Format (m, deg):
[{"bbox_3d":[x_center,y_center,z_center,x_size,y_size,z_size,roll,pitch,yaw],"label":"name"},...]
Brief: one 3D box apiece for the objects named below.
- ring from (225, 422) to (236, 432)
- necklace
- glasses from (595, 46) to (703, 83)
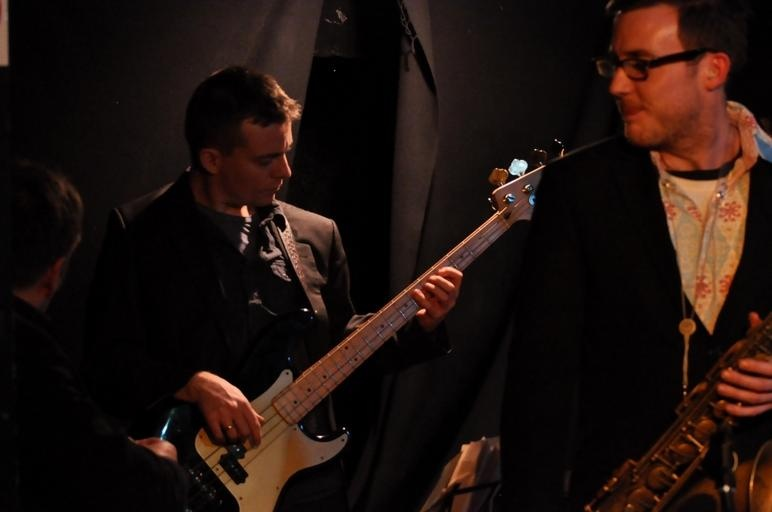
[{"bbox_3d":[-0.625,0.694,2.802,0.032,0.024,0.007,-20,16,-33],"label":"ring"},{"bbox_3d":[1.343,-0.048,3.001,0.340,0.907,0.099,2,-1,-7],"label":"necklace"},{"bbox_3d":[1.097,-0.790,2.903,0.441,0.129,0.129,1,3,24],"label":"glasses"}]
